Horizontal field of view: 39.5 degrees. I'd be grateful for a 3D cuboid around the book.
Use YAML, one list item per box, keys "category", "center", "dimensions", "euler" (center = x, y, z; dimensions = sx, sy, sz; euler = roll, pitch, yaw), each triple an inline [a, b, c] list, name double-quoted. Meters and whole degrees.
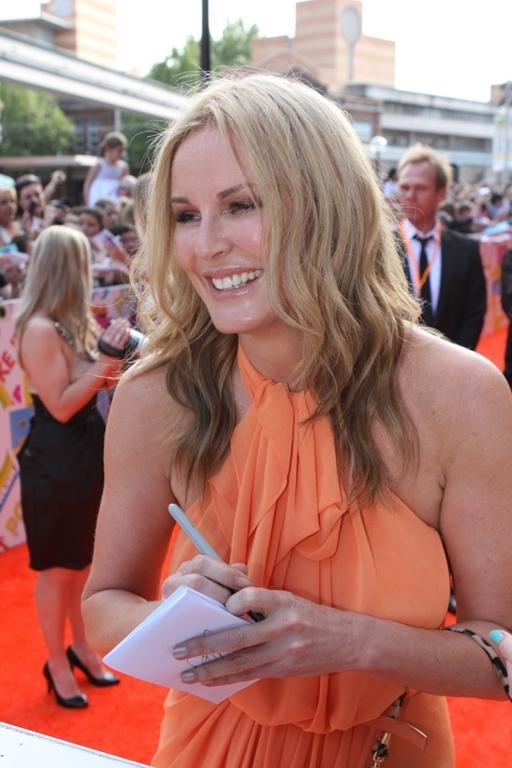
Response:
- category: "book"
  center: [-0.090, 0.339, 0.927]
  dimensions: [0.210, 0.216, 0.068]
  euler: [27, 33, -32]
